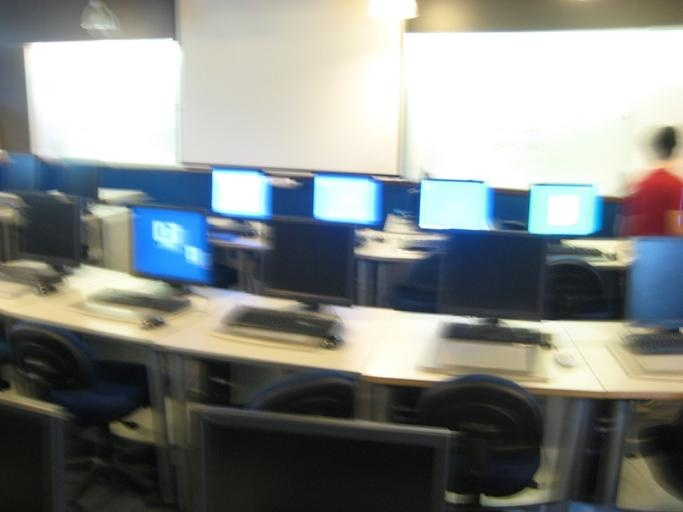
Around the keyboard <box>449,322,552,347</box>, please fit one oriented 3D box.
[{"bbox_3d":[0.799,0.398,3.607,0.681,0.104,0.163,0,14,15],"label":"keyboard"}]

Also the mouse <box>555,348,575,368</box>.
[{"bbox_3d":[1.064,0.482,3.345,0.059,0.017,0.076,-4,25,2],"label":"mouse"}]

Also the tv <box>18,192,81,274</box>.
[{"bbox_3d":[-1.673,-0.150,4.021,0.465,0.408,0.065,7,13,20],"label":"tv"}]

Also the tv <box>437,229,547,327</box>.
[{"bbox_3d":[0.789,0.093,3.594,0.534,0.455,0.127,6,11,10],"label":"tv"}]

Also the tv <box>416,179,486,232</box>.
[{"bbox_3d":[0.676,-0.323,4.360,0.398,0.230,0.379,2,3,2],"label":"tv"}]

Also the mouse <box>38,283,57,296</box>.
[{"bbox_3d":[-1.698,0.182,4.034,0.075,0.018,0.067,0,34,-8],"label":"mouse"}]

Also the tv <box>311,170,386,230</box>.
[{"bbox_3d":[0.043,-0.356,4.505,0.603,0.377,0.324,2,1,6],"label":"tv"}]

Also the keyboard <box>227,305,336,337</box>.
[{"bbox_3d":[-0.324,0.343,3.705,0.379,0.040,0.218,7,18,12],"label":"keyboard"}]

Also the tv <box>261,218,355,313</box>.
[{"bbox_3d":[-0.176,0.033,3.726,0.510,0.437,0.114,6,8,18],"label":"tv"}]

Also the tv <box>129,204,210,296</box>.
[{"bbox_3d":[-0.961,-0.044,3.923,0.489,0.459,0.172,6,13,16],"label":"tv"}]
